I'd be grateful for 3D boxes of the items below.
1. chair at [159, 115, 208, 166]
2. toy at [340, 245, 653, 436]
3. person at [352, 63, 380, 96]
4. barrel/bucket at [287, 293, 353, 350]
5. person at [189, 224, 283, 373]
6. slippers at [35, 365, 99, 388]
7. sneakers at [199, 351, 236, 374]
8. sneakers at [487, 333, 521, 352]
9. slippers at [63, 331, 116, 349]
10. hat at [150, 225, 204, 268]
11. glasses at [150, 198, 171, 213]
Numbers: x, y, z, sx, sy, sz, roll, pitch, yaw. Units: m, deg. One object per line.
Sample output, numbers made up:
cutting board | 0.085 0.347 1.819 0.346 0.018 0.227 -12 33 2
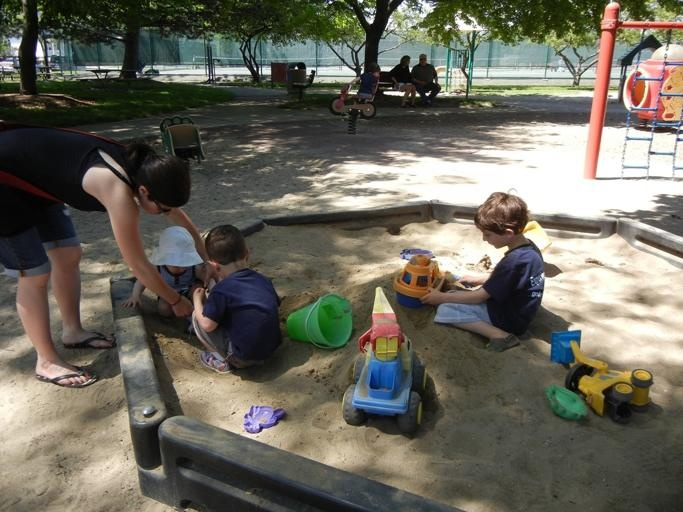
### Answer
chair | -2.643 -2.008 8.826 0.606 0.450 0.921 -13 39 -20
toy | 0.857 0.409 3.276 1.704 0.836 1.092 -2 17 -3
person | 0.753 -5.044 15.268 0.623 0.961 1.266 0 17 4
barrel/bucket | -0.124 0.467 3.668 0.460 0.350 0.430 2 -11 0
person | -0.711 0.263 3.400 0.584 0.906 0.491 15 25 39
slippers | -1.710 0.742 3.305 0.303 0.057 0.141 4 12 2
sneakers | -0.809 0.679 3.434 0.221 0.062 0.113 20 31 -3
sneakers | 1.040 0.559 3.471 0.259 0.083 0.078 -13 -4 -13
slippers | -1.673 0.572 3.633 0.368 0.069 0.125 -2 17 -7
hat | -1.162 -0.065 3.780 0.330 0.159 0.357 -10 18 -44
glasses | -1.006 -0.278 2.950 0.061 0.017 0.061 42 16 22
